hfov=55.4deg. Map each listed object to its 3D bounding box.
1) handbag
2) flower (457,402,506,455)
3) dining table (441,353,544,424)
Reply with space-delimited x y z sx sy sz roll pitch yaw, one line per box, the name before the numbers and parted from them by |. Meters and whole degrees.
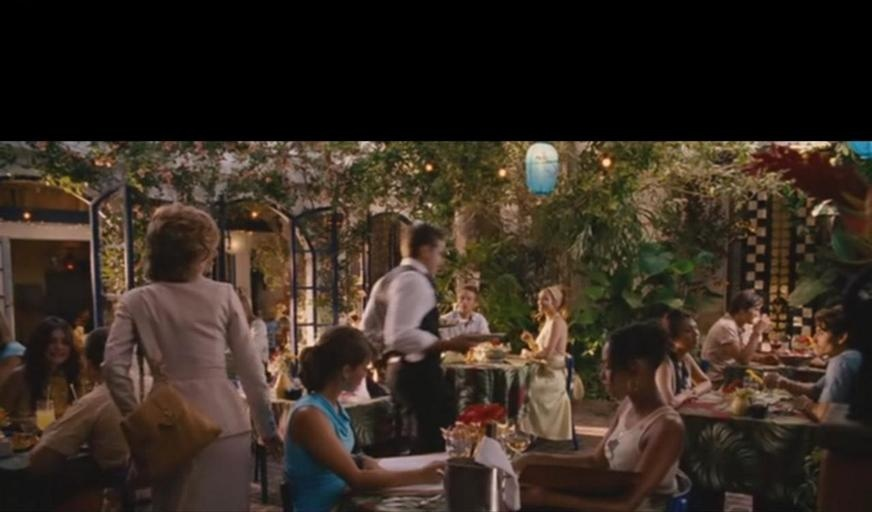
handbag | -2.042 1.241 6.225 0.604 0.639 0.260 -33 6 -16
flower | 0.410 1.246 6.165 0.344 0.348 0.345 -7 -2 4
dining table | 0.469 1.109 6.494 0.694 0.430 0.626 17 -25 -38
